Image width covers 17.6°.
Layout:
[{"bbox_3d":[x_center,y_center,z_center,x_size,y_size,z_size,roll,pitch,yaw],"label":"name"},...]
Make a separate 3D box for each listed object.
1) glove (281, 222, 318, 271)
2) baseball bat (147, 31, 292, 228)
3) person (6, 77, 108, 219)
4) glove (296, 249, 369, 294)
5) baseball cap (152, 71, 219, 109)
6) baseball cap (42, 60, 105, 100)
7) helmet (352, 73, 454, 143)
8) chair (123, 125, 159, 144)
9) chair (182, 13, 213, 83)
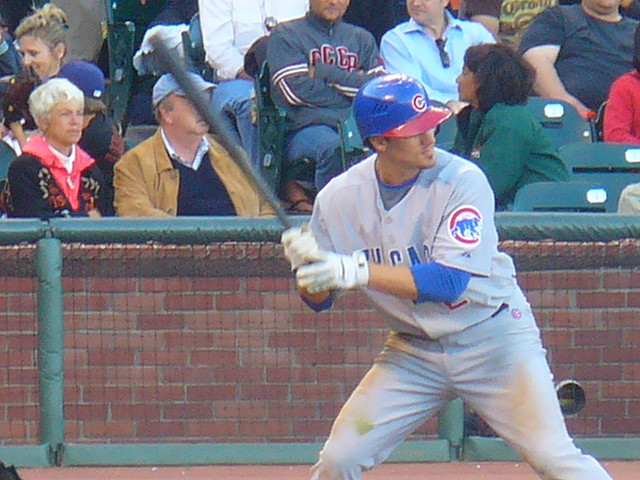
[{"bbox_3d":[-0.131,0.031,12.276,0.214,0.265,0.094,-17,-8,21],"label":"glove"},{"bbox_3d":[-0.661,-0.702,13.725,0.156,1.776,0.182,-42,14,-8],"label":"baseball bat"},{"bbox_3d":[-1.810,-0.637,13.964,0.433,0.937,0.571,-1,2,17],"label":"person"},{"bbox_3d":[0.165,0.209,12.431,0.384,0.199,0.514,-18,7,-26],"label":"glove"},{"bbox_3d":[-0.926,-1.014,13.543,0.383,0.211,0.259,-27,2,23],"label":"baseball cap"},{"bbox_3d":[-1.718,-1.157,14.578,0.362,0.295,0.395,-2,2,-7],"label":"baseball cap"},{"bbox_3d":[0.517,-0.836,12.601,0.690,0.367,0.535,2,19,28],"label":"helmet"},{"bbox_3d":[-1.337,-0.818,15.314,0.273,0.176,0.148,-1,9,-1],"label":"chair"},{"bbox_3d":[-0.887,-1.310,14.883,0.229,0.709,0.392,-1,-8,-7],"label":"chair"}]
